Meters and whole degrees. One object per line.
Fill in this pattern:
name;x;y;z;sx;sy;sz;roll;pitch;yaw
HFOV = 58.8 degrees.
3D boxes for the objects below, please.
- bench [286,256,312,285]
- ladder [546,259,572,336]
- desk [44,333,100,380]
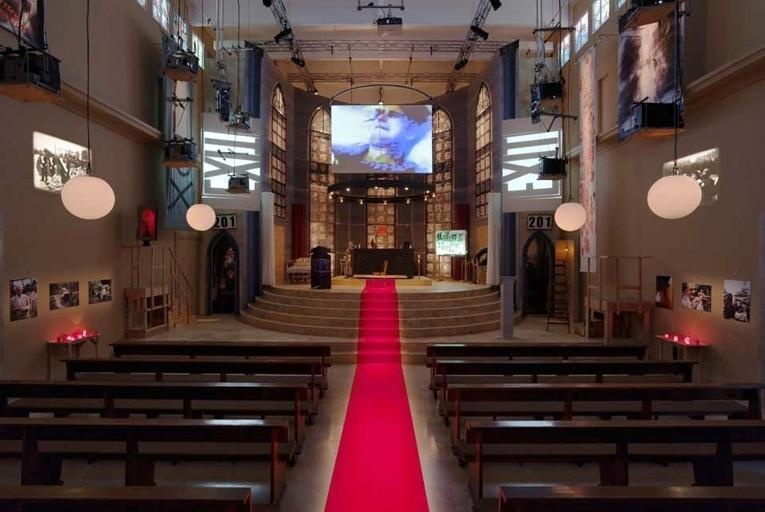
bench;-2.770;0.505;23.130;0.863;0.969;0.853;0;-3;-1
ladder;5.383;1.315;20.454;0.601;1.903;2.052;-2;9;19
desk;-6.875;2.329;15.689;0.318;0.643;1.233;24;-41;-36
